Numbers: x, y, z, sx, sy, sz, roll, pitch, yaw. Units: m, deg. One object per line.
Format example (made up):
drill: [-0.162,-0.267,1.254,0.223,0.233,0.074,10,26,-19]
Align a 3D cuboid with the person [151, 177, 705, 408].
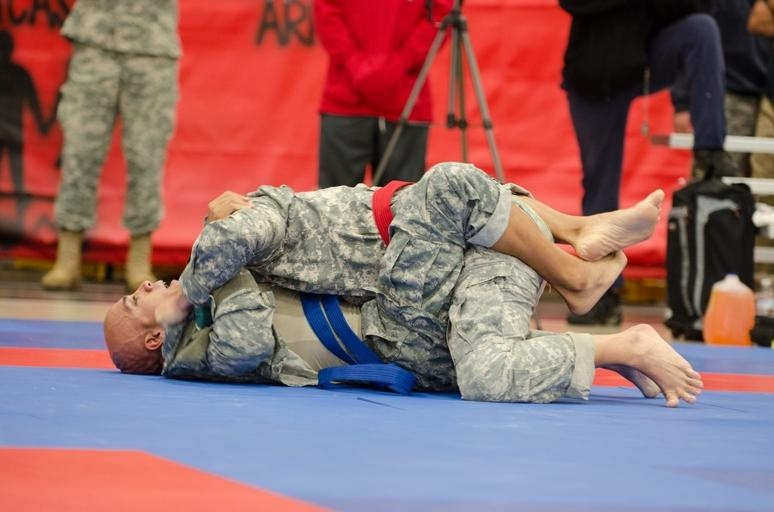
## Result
person: [0.193,0.083,4.147,1.685,0.583,1.007,4,-5,7]

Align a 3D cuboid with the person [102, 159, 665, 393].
person: [-0.001,0.103,4.150,1.847,0.611,0.978,-1,-7,7]

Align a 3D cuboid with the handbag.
handbag: [1.725,-0.088,5.767,0.485,0.873,0.603,-5,23,5]
